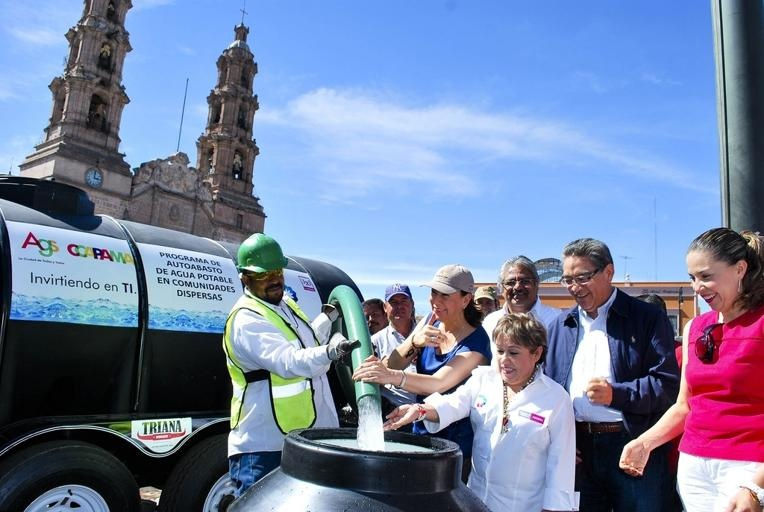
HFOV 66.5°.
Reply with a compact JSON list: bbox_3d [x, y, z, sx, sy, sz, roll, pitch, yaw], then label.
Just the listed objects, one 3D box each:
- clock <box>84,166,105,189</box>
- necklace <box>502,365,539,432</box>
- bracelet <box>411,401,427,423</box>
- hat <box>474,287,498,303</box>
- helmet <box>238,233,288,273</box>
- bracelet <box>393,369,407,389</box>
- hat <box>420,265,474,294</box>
[{"bbox_3d":[-19.102,-5.156,38.639,1.169,1.205,1.201,5,9,37],"label":"clock"},{"bbox_3d":[1.016,1.051,4.303,0.110,0.464,0.255,10,-8,-39],"label":"necklace"},{"bbox_3d":[0.268,1.158,4.235,0.109,0.147,0.086,4,7,42],"label":"bracelet"},{"bbox_3d":[1.325,0.461,7.403,0.253,0.161,0.402,-1,-10,12],"label":"hat"},{"bbox_3d":[-0.934,0.002,4.524,0.403,0.265,0.478,-6,6,-34],"label":"helmet"},{"bbox_3d":[0.143,0.899,4.194,0.052,0.142,0.107,4,14,-24],"label":"bracelet"},{"bbox_3d":[0.516,0.196,4.299,0.364,0.215,0.258,10,-9,-18],"label":"hat"}]
